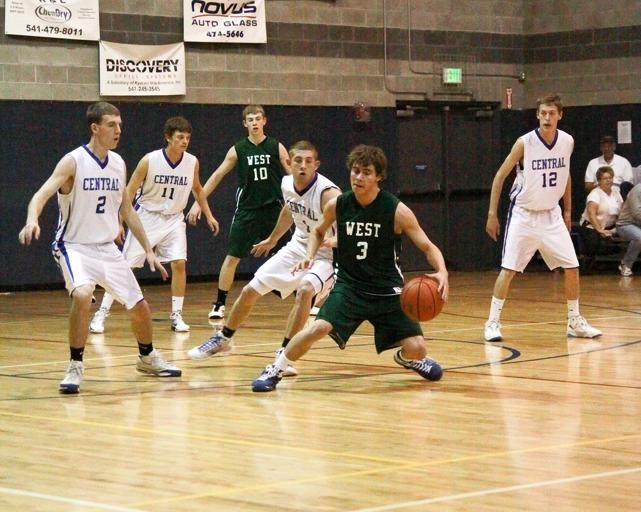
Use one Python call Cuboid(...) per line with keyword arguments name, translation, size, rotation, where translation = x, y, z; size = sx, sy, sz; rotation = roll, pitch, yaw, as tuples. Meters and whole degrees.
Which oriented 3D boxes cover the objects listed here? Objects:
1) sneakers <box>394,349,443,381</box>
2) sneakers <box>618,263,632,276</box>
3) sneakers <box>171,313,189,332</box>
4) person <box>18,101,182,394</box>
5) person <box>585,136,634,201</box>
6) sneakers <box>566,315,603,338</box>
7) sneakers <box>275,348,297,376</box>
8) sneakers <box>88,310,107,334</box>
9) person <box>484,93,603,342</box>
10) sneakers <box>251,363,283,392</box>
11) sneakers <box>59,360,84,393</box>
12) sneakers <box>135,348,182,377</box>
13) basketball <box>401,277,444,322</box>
Cuboid(name="sneakers", translation=(0.627, 0.753, 4.964), size=(0.382, 0.162, 0.180), rotation=(20, 12, 26))
Cuboid(name="sneakers", translation=(4.856, 0.241, 11.490), size=(0.106, 0.145, 0.293), rotation=(0, -3, 8))
Cuboid(name="sneakers", translation=(-1.437, 0.667, 7.348), size=(0.114, 0.135, 0.281), rotation=(0, -1, -20))
Cuboid(name="person", translation=(-1.501, -0.065, 4.826), size=(1.050, 1.897, 0.373), rotation=(-4, 4, -43))
Cuboid(name="person", translation=(4.859, -1.404, 12.273), size=(0.804, 1.280, 0.834), rotation=(-1, -2, 27))
Cuboid(name="sneakers", translation=(2.432, 0.630, 6.555), size=(0.369, 0.206, 0.149), rotation=(1, 3, 43))
Cuboid(name="sneakers", translation=(-0.245, 0.743, 4.988), size=(0.092, 0.233, 0.301), rotation=(1, -11, -8))
Cuboid(name="sneakers", translation=(-2.278, 0.681, 7.387), size=(0.131, 0.124, 0.339), rotation=(-13, 19, -1))
Cuboid(name="person", translation=(1.956, -0.329, 6.486), size=(0.936, 2.147, 0.414), rotation=(0, 3, 13))
Cuboid(name="sneakers", translation=(-0.350, 0.797, 4.695), size=(0.096, 0.129, 0.275), rotation=(0, -1, 18))
Cuboid(name="sneakers", translation=(-1.648, 0.784, 4.754), size=(0.144, 0.201, 0.202), rotation=(-2, 3, -24))
Cuboid(name="sneakers", translation=(-1.159, 0.758, 5.244), size=(0.371, 0.227, 0.149), rotation=(5, 3, 12))
Cuboid(name="basketball", translation=(0.641, 0.241, 4.447), size=(0.229, 0.296, 0.253), rotation=(1, 3, 27))
